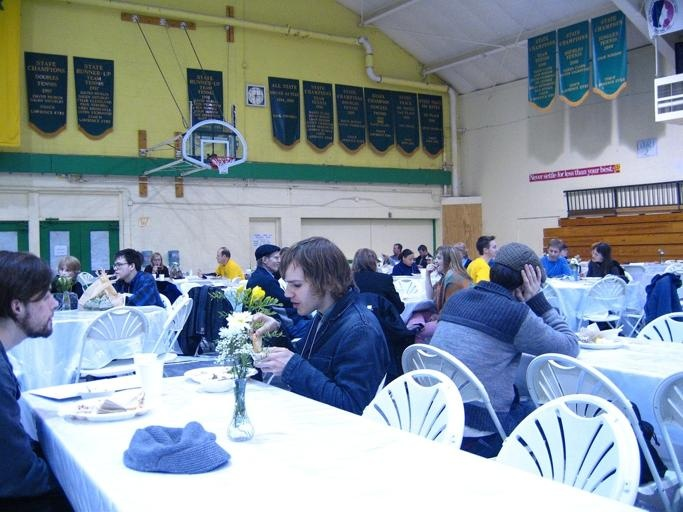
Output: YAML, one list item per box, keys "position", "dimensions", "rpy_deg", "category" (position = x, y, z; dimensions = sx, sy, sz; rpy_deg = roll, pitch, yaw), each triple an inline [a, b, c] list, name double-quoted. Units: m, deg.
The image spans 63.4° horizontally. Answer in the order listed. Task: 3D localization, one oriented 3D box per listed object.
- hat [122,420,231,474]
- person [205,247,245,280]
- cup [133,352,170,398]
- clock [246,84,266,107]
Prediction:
- position: [-0.475, 0.551, 1.575]
  dimensions: [0.187, 0.074, 0.160]
  rpy_deg: [3, 2, 20]
  category: "hat"
- position: [-2.133, 0.195, 10.294]
  dimensions: [0.583, 0.957, 0.693]
  rpy_deg: [-4, 2, -16]
  category: "person"
- position: [-0.757, 0.462, 2.170]
  dimensions: [0.131, 0.154, 0.142]
  rpy_deg: [-1, -5, 0]
  category: "cup"
- position: [-2.041, -3.787, 13.055]
  dimensions: [0.494, 0.544, 0.067]
  rpy_deg: [4, -8, -35]
  category: "clock"
